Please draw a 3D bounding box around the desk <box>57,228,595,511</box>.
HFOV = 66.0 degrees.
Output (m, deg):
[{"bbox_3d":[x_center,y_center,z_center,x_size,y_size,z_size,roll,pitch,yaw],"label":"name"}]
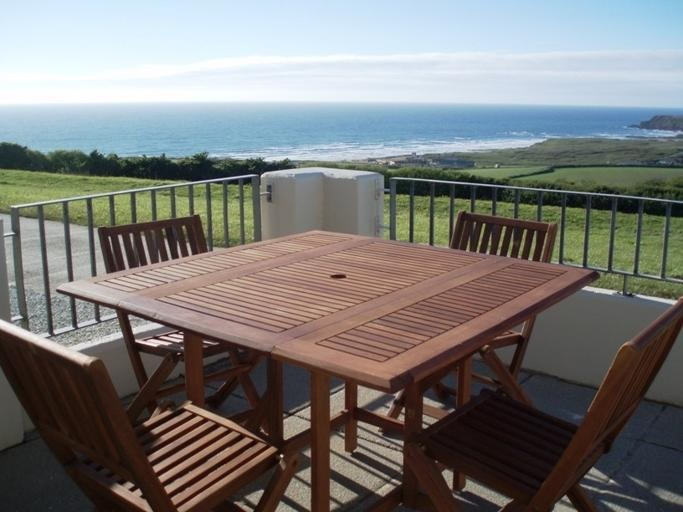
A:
[{"bbox_3d":[0.092,0.111,1.997,1.308,0.772,1.326,15,24,37],"label":"desk"}]
